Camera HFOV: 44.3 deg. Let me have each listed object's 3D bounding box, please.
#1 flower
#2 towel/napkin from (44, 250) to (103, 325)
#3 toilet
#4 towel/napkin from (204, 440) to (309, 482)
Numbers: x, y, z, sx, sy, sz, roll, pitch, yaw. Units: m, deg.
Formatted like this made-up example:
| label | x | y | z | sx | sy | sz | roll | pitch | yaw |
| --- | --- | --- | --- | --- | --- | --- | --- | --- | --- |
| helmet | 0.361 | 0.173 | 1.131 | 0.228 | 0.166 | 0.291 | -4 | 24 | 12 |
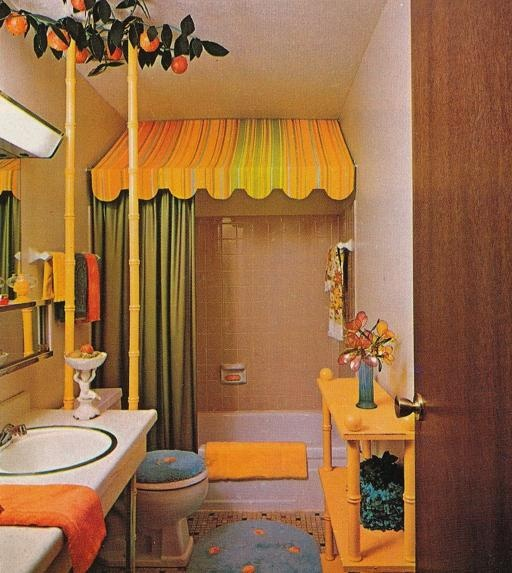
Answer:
| label | x | y | z | sx | sy | sz | roll | pitch | yaw |
| --- | --- | --- | --- | --- | --- | --- | --- | --- | --- |
| flower | 0.393 | 0.198 | 2.210 | 0.189 | 0.245 | 0.152 | -8 | -23 | -6 |
| towel/napkin | -0.756 | 0.005 | 2.584 | 0.075 | 0.328 | 0.294 | 1 | 0 | 15 |
| toilet | -0.371 | 0.852 | 2.483 | 0.567 | 0.765 | 0.497 | -1 | 2 | -5 |
| towel/napkin | 0.000 | 0.930 | 3.358 | 0.560 | 0.129 | 0.358 | -5 | 5 | -3 |
